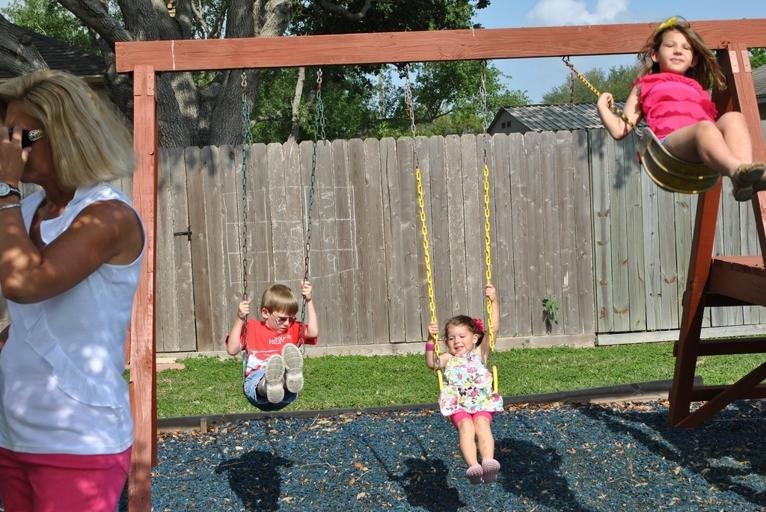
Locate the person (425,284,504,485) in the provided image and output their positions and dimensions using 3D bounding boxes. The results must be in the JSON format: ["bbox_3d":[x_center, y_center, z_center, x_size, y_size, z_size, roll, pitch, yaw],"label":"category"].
[{"bbox_3d":[0.652,1.034,6.992,0.542,0.653,1.553,-4,49,5],"label":"person"}]

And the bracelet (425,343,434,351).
[{"bbox_3d":[0.364,0.732,7.212,0.066,0.051,0.067,0,-4,7],"label":"bracelet"}]

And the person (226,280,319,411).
[{"bbox_3d":[-0.862,0.711,7.142,0.736,1.048,1.061,5,-4,-13],"label":"person"}]

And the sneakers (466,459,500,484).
[{"bbox_3d":[0.701,1.536,6.384,0.136,0.239,0.100,-4,41,-11],"label":"sneakers"}]
